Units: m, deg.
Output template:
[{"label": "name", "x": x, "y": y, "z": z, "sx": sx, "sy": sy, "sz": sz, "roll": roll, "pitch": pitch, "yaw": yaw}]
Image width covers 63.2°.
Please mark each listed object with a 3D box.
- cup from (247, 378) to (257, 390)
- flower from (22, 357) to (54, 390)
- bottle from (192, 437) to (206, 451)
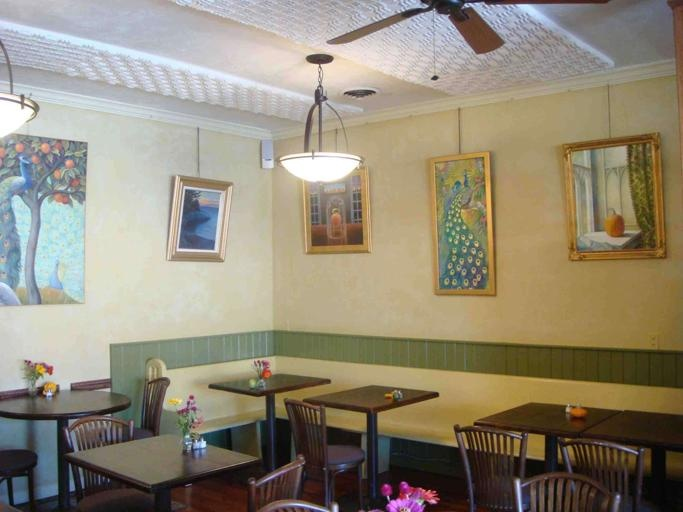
[{"label": "cup", "x": -0.837, "y": 1.196, "z": 5.224, "sx": 0.064, "sy": 0.072, "sz": 0.064, "roll": -11, "pitch": -2, "yaw": 0}, {"label": "flower", "x": -2.668, "y": 0.994, "z": 4.903, "sx": 0.249, "sy": 0.296, "sz": 0.306, "roll": 4, "pitch": -3, "yaw": -40}, {"label": "bottle", "x": -0.937, "y": 1.230, "z": 3.631, "sx": 0.057, "sy": 0.067, "sz": 0.098, "roll": -5, "pitch": -7, "yaw": 38}]
